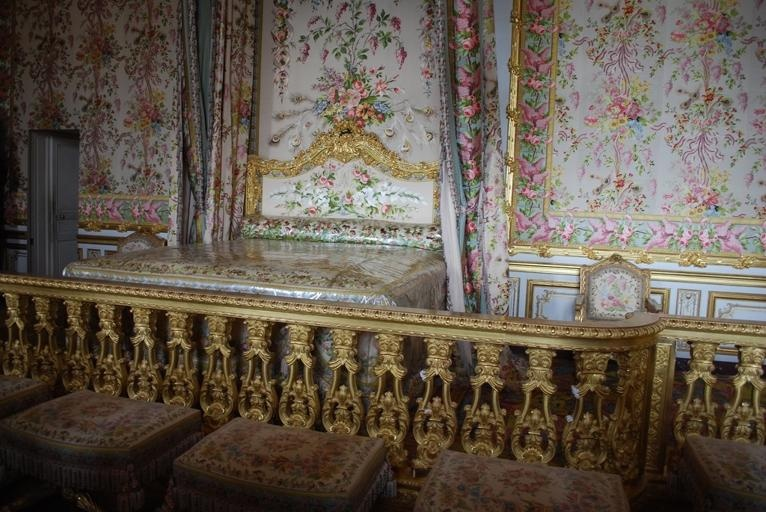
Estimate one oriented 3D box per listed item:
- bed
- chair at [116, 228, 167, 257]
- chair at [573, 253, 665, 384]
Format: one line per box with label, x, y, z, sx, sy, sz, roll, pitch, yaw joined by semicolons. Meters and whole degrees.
bed;-0.526;-0.016;4.303;1.770;1.125;1.812;2;2;27
chair;-2.100;-0.120;5.032;0.268;0.268;0.148;11;17;5
chair;1.805;0.499;4.501;0.640;0.919;0.519;2;7;15
